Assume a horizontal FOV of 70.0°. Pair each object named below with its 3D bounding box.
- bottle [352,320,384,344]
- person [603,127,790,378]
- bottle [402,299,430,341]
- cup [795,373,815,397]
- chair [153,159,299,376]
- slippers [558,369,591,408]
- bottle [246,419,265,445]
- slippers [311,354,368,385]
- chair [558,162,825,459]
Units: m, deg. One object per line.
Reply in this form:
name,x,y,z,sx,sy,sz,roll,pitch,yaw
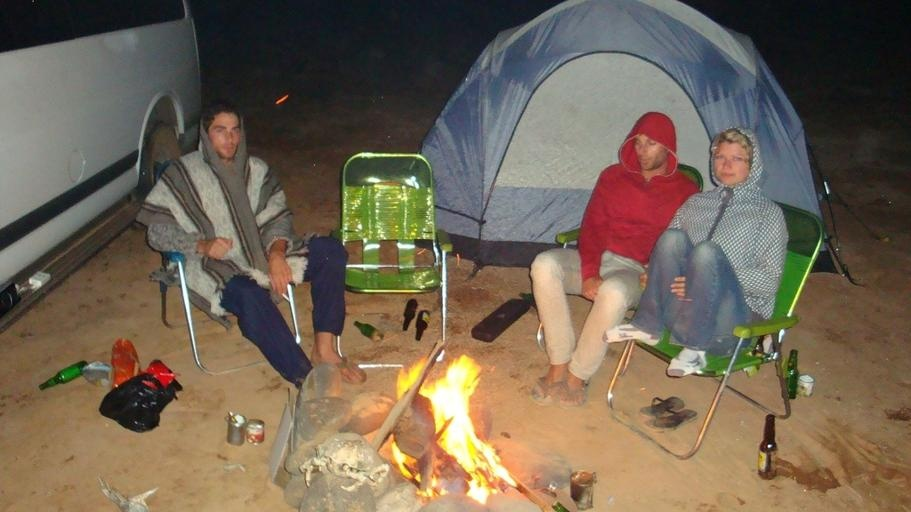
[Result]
bottle,-0.882,0.763,6.677,0.387,0.120,0.128,25,25,26
person,2.293,-0.036,5.685,1.105,1.949,1.260,19,29,25
bottle,-0.434,0.656,6.804,0.291,0.368,0.116,24,-22,-14
cup,3.246,1.198,6.066,0.195,0.182,0.183,-5,1,0
chair,-2.172,-0.055,6.254,1.514,1.778,1.082,-9,26,-30
slippers,1.069,1.230,5.971,0.192,0.251,0.367,1,-12,7
bottle,-1.729,1.515,5.665,0.157,0.187,0.066,3,10,1
slippers,-1.032,1.063,6.098,0.648,0.176,0.197,29,-7,-37
chair,2.002,0.442,6.761,2.239,2.893,2.437,-15,28,-30
